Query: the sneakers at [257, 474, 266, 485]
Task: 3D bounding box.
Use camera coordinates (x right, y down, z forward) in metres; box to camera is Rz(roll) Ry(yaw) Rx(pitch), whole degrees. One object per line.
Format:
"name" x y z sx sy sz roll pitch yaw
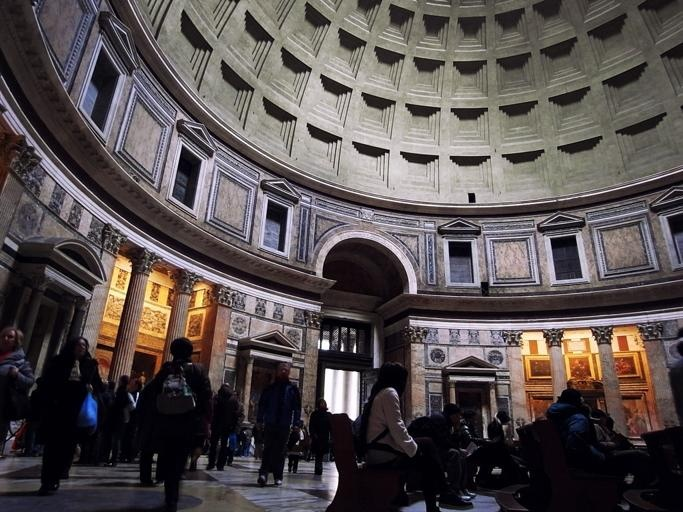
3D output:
"sneakers" -1.283 3.574 6.503 0.118 0.087 0.157 15 -2 7

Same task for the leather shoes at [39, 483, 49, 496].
"leather shoes" -3.314 2.582 4.513 0.107 0.115 0.109 5 -31 -17

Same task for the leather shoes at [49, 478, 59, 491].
"leather shoes" -3.351 2.656 4.731 0.042 0.124 0.297 11 -25 -21

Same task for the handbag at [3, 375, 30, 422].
"handbag" -3.873 1.675 4.805 0.208 0.468 0.454 -17 -19 3

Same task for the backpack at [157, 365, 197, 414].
"backpack" -1.811 1.471 4.436 0.374 0.469 0.257 0 -11 -12
